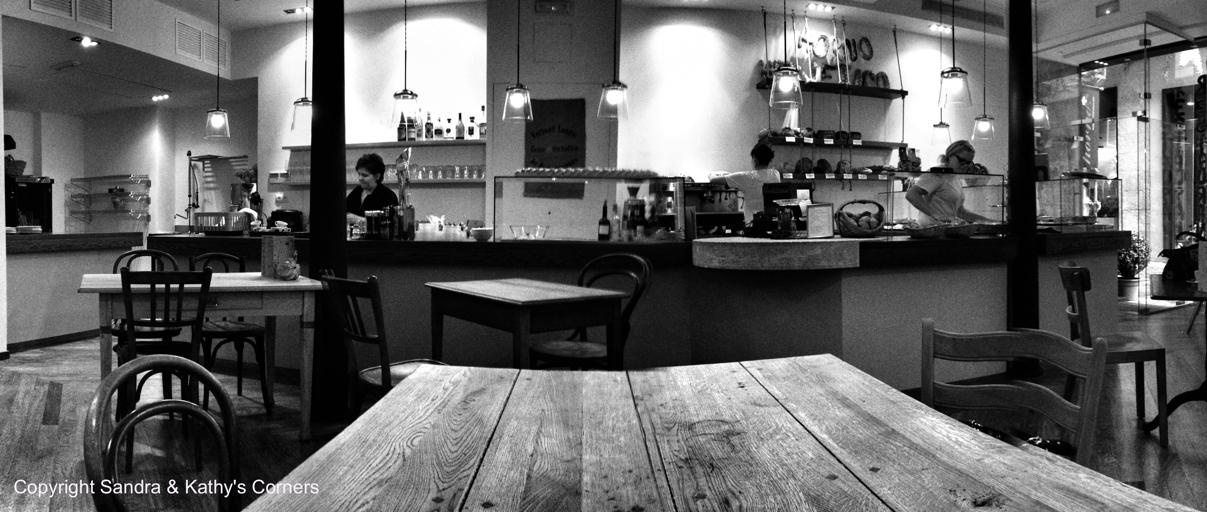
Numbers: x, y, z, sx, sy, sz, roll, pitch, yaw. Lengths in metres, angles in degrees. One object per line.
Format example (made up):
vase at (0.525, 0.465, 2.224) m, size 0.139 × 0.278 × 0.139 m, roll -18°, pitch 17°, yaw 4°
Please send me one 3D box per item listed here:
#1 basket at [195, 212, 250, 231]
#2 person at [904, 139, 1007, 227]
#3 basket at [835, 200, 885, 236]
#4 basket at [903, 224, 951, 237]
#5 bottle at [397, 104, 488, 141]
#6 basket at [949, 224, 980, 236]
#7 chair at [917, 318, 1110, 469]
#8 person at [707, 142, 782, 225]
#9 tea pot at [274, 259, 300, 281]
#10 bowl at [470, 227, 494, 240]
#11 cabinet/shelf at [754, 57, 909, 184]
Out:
basket at (-6.446, -0.570, 12.699) m, size 0.759 × 0.249 × 0.455 m, roll 1°, pitch 4°, yaw 1°
person at (5.398, -1.142, 11.476) m, size 1.231 × 1.339 × 0.739 m, roll -5°, pitch 3°, yaw -30°
basket at (3.890, -0.565, 11.147) m, size 0.623 × 0.557 × 0.589 m, roll -1°, pitch 4°, yaw 34°
basket at (4.912, -0.368, 11.155) m, size 0.684 × 0.183 × 0.180 m, roll -3°, pitch 3°, yaw -14°
bottle at (-3.035, -2.540, 14.177) m, size 1.166 × 0.359 × 0.173 m, roll 0°, pitch 3°, yaw 1°
basket at (5.485, -0.384, 11.257) m, size 0.356 × 0.094 × 0.237 m, roll 0°, pitch -1°, yaw 3°
chair at (5.152, 1.502, 9.434) m, size 2.076 × 2.739 × 2.135 m, roll -1°, pitch -3°, yaw 29°
person at (2.570, -1.255, 12.398) m, size 1.353 × 1.712 × 0.832 m, roll 0°, pitch -1°, yaw 41°
tea pot at (-4.549, 0.202, 10.740) m, size 0.378 × 0.275 × 0.319 m, roll 3°, pitch 9°, yaw -6°
bowl at (-1.862, -0.339, 11.510) m, size 0.272 × 0.116 × 0.236 m, roll -4°, pitch 4°, yaw -12°
cabinet/shelf at (4.250, -2.649, 14.189) m, size 3.986 × 2.331 × 1.450 m, roll -4°, pitch 3°, yaw -34°
